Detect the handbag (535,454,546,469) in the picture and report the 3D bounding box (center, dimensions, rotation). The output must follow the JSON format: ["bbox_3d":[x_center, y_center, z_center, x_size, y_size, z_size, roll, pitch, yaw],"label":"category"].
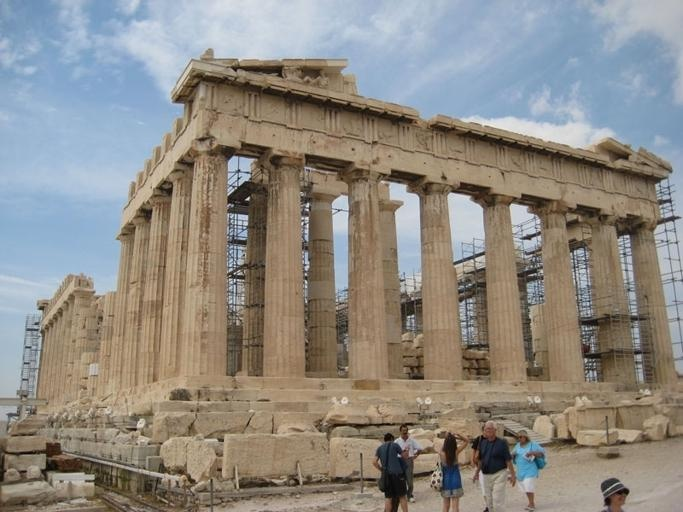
[{"bbox_3d":[4.573,4.685,15.105,0.284,0.280,0.181,12,-21,-40],"label":"handbag"}]

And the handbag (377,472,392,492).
[{"bbox_3d":[0.931,5.051,14.760,0.190,0.412,0.320,3,-16,-13],"label":"handbag"}]

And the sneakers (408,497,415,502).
[{"bbox_3d":[1.833,6.324,17.145,0.136,0.079,0.170,-1,-10,11],"label":"sneakers"}]
